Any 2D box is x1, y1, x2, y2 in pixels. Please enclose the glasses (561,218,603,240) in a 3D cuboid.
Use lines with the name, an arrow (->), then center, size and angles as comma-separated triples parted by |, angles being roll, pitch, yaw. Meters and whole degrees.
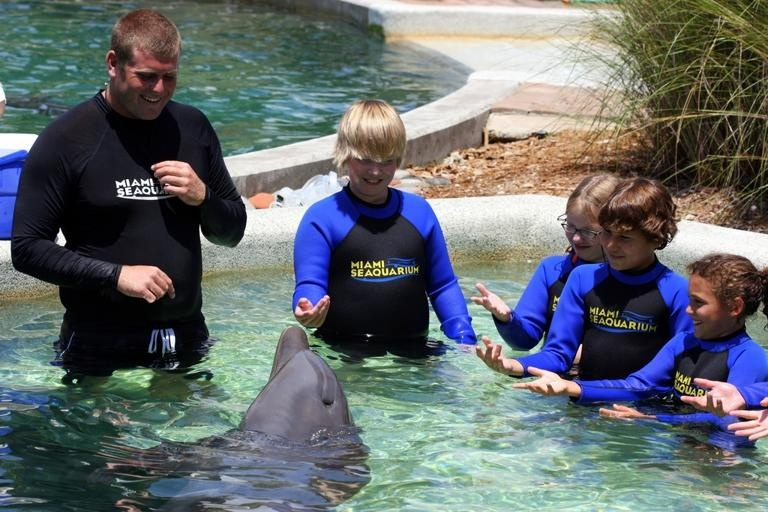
glasses -> 1.143, -0.143, 4.207 | 0.170, 0.035, 0.157 | 10, 2, -34

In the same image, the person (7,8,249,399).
person -> -1.298, -0.325, 3.819 | 0.886, 1.842, 0.897 | 7, 22, 15

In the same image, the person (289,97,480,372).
person -> -0.001, -0.150, 4.175 | 1.041, 1.423, 0.562 | -2, 22, -5
